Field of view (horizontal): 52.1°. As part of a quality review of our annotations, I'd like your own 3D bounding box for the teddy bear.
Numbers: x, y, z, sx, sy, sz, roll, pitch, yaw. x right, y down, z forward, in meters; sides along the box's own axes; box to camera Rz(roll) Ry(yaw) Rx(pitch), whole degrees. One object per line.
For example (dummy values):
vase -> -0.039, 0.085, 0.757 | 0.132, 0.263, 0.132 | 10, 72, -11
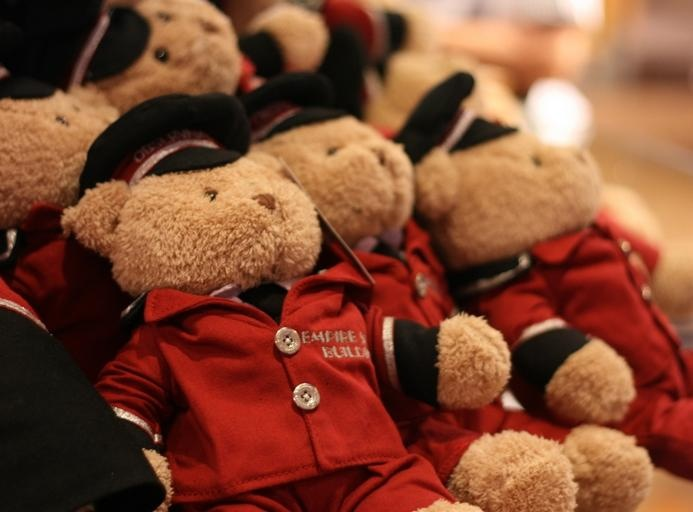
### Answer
teddy bear -> -0.084, -0.036, 1.306 | 1.146, 0.466, 0.735 | 41, 11, 15
